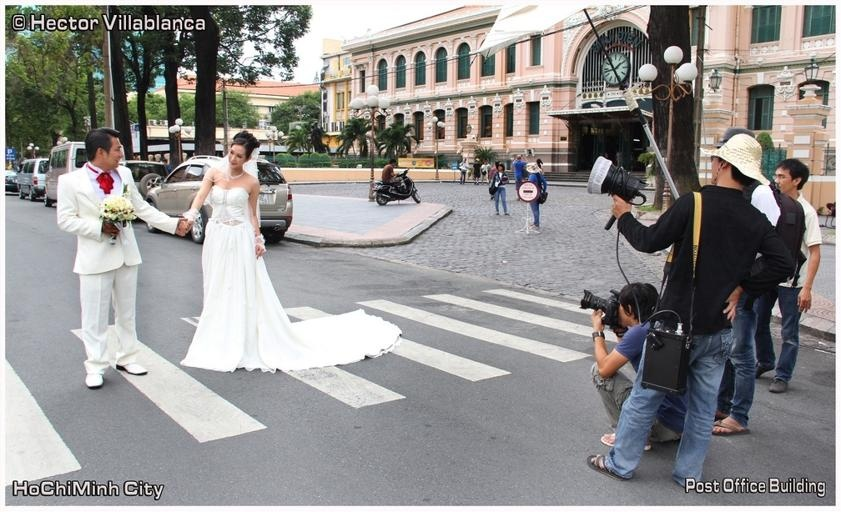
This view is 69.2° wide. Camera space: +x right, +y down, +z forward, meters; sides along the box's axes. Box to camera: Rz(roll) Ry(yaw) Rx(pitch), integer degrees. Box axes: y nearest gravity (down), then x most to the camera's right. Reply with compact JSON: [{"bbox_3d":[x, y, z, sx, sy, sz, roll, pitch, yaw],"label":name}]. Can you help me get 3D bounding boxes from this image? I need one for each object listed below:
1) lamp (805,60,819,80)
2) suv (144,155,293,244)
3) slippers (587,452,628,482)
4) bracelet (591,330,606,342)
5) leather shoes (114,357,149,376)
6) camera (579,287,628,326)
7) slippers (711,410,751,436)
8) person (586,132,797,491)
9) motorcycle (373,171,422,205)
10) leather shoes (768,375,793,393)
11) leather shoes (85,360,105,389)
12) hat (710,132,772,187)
[{"bbox_3d":[15.382,-7.349,24.099,0.348,0.827,1.966,11,17,32],"label":"lamp"},{"bbox_3d":[-5.727,-1.635,17.194,4.399,1.625,2.371,13,11,42],"label":"suv"},{"bbox_3d":[1.814,2.059,5.970,0.183,0.069,0.322,-10,20,-28],"label":"slippers"},{"bbox_3d":[1.813,0.819,6.323,0.166,0.104,0.171,-8,-16,23],"label":"bracelet"},{"bbox_3d":[-3.620,1.387,7.681,0.452,0.119,0.175,3,11,29],"label":"leather shoes"},{"bbox_3d":[1.931,0.499,6.317,0.532,0.269,0.450,4,15,-12],"label":"camera"},{"bbox_3d":[3.386,1.877,6.810,0.486,0.187,0.255,13,-15,5],"label":"slippers"},{"bbox_3d":[2.561,0.530,5.844,1.607,3.319,0.876,-7,17,-26],"label":"person"},{"bbox_3d":[-0.918,-2.911,26.735,2.433,1.343,1.140,-9,18,-28],"label":"motorcycle"},{"bbox_3d":[4.451,1.616,7.567,0.384,0.147,0.128,3,-8,-45],"label":"leather shoes"},{"bbox_3d":[-3.886,1.409,7.291,0.210,0.287,0.243,-3,15,-16],"label":"leather shoes"},{"bbox_3d":[2.978,-0.929,5.766,0.473,0.453,0.453,8,16,25],"label":"hat"}]
